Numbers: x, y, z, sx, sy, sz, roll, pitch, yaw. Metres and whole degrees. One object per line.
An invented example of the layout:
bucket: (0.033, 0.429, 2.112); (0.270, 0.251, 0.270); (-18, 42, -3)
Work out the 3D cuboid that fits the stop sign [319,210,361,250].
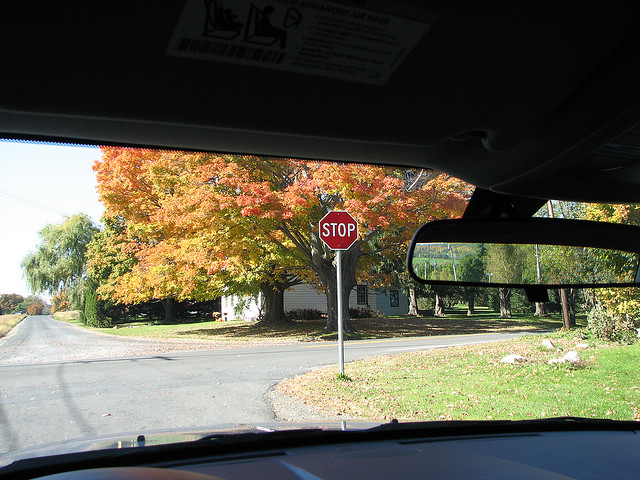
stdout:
stop sign: (0.407, -0.216, 10.062); (0.953, 0.852, 0.086); (0, 2, 27)
